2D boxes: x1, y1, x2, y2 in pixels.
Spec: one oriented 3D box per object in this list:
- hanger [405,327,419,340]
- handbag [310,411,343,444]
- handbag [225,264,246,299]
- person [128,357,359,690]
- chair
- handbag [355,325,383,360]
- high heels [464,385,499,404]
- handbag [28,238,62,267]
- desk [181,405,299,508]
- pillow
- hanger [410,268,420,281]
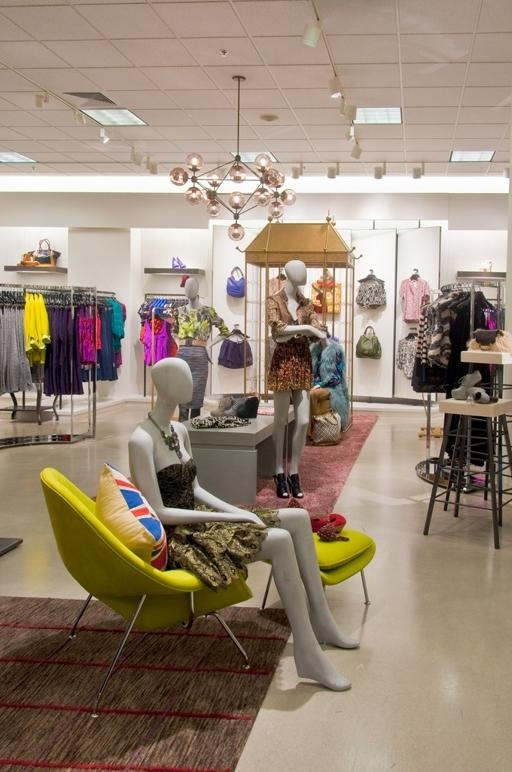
[{"bbox_3d":[2.676,-0.918,9.428,0.218,0.191,0.153,5,2,36],"label":"hanger"},{"bbox_3d":[0.884,0.491,6.659,0.528,0.496,0.281,-2,-3,-39],"label":"handbag"},{"bbox_3d":[-0.368,-1.871,9.804,0.304,0.428,0.196,3,2,-14],"label":"handbag"},{"bbox_3d":[-0.026,0.400,1.743,0.697,0.936,0.512,1,3,12],"label":"person"},{"bbox_3d":[-0.326,0.548,1.668,0.597,0.580,0.599,2,4,-19],"label":"chair"},{"bbox_3d":[2.017,-0.801,9.691,0.425,0.503,0.256,4,2,20],"label":"handbag"},{"bbox_3d":[1.417,0.052,3.431,0.087,0.108,0.265,6,5,43],"label":"high heels"},{"bbox_3d":[-3.977,-2.541,10.372,0.638,0.645,0.372,0,-3,-8],"label":"handbag"},{"bbox_3d":[-0.186,0.604,4.220,0.560,0.634,0.969,1,8,14],"label":"desk"},{"bbox_3d":[-0.339,0.384,1.498,0.203,0.295,0.260,3,2,-9],"label":"pillow"},{"bbox_3d":[2.728,-1.912,9.343,0.133,0.182,0.146,4,2,24],"label":"hanger"}]
